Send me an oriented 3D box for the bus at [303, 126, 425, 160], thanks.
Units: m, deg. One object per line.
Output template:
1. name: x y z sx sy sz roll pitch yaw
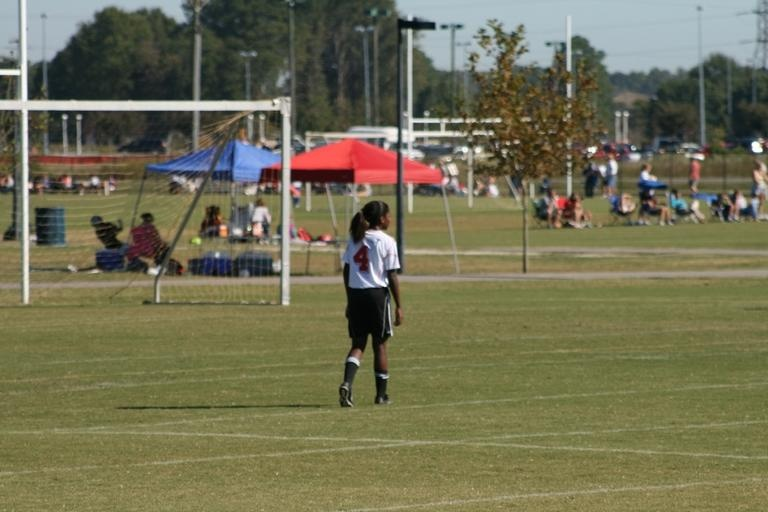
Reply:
1. bus: -0.866 -6.134 101.221 5.618 2.276 26.516 0 2 1

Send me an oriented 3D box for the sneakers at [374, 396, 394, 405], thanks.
1. sneakers: -0.021 4.173 58.727 0.594 0.219 0.193 -1 4 -11

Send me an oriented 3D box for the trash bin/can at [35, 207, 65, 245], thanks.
1. trash bin/can: -12.334 -1.197 72.625 1.103 1.412 3.216 -1 2 -9
